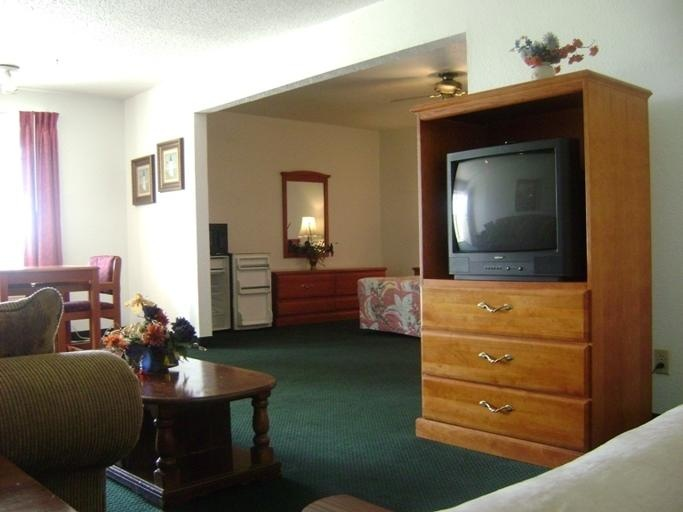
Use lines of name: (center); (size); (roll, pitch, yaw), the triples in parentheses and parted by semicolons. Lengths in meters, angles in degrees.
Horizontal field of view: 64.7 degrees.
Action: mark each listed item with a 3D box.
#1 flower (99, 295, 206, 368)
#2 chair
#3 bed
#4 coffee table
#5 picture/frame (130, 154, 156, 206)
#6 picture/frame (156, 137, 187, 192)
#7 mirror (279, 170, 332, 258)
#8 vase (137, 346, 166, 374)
flower: (-1.042, 0.445, 2.969); (0.450, 0.329, 0.444); (-6, 2, 2)
chair: (-2.758, 0.577, 5.660); (0.810, 1.127, 0.797); (0, 2, -27)
bed: (0.747, 0.602, 6.837); (0.994, 0.693, 0.608); (0, 3, 40)
coffee table: (-0.661, 0.846, 2.536); (0.611, 0.430, 0.894); (0, -1, -37)
picture/frame: (-2.605, -1.003, 7.101); (0.731, 0.769, 0.059); (-1, -1, 45)
picture/frame: (-2.046, -1.105, 6.522); (0.083, 0.731, 0.732); (-1, 1, -42)
mirror: (-0.577, -0.667, 8.651); (0.865, 0.957, 0.095); (-2, 1, -36)
vase: (-0.991, 0.552, 2.837); (0.142, 0.147, 0.138); (-2, 3, -17)
